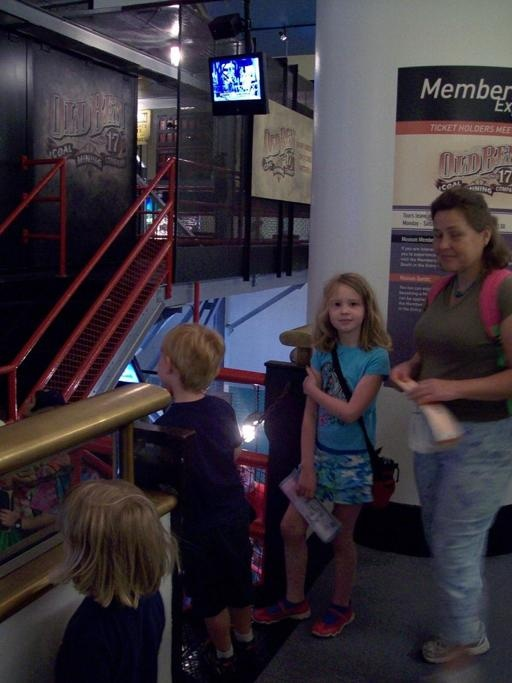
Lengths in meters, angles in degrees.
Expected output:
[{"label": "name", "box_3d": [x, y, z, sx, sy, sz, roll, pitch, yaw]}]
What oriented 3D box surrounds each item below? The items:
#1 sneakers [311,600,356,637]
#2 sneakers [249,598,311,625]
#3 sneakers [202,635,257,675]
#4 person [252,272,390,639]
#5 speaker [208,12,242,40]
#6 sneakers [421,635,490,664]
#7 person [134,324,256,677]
[{"label": "sneakers", "box_3d": [0.279, 1.016, 1.874, 0.071, 0.072, 0.160, 5, 9, 40]}, {"label": "sneakers", "box_3d": [0.093, 1.027, 2.020, 0.228, 0.097, 0.083, 1, 5, -9]}, {"label": "sneakers", "box_3d": [-0.098, 1.070, 1.798, 0.073, 0.091, 0.202, 3, -2, -32]}, {"label": "person", "box_3d": [0.257, 0.412, 1.911, 0.461, 1.307, 0.262, 0, 6, 15]}, {"label": "speaker", "box_3d": [-0.386, -3.858, 6.350, 0.406, 0.242, 0.411, -1, 7, 10]}, {"label": "sneakers", "box_3d": [0.684, 1.010, 1.750, 0.224, 0.103, 0.086, -1, 8, -6]}, {"label": "person", "box_3d": [-0.159, 0.539, 1.590, 0.289, 1.169, 0.794, -2, 6, -2]}]
